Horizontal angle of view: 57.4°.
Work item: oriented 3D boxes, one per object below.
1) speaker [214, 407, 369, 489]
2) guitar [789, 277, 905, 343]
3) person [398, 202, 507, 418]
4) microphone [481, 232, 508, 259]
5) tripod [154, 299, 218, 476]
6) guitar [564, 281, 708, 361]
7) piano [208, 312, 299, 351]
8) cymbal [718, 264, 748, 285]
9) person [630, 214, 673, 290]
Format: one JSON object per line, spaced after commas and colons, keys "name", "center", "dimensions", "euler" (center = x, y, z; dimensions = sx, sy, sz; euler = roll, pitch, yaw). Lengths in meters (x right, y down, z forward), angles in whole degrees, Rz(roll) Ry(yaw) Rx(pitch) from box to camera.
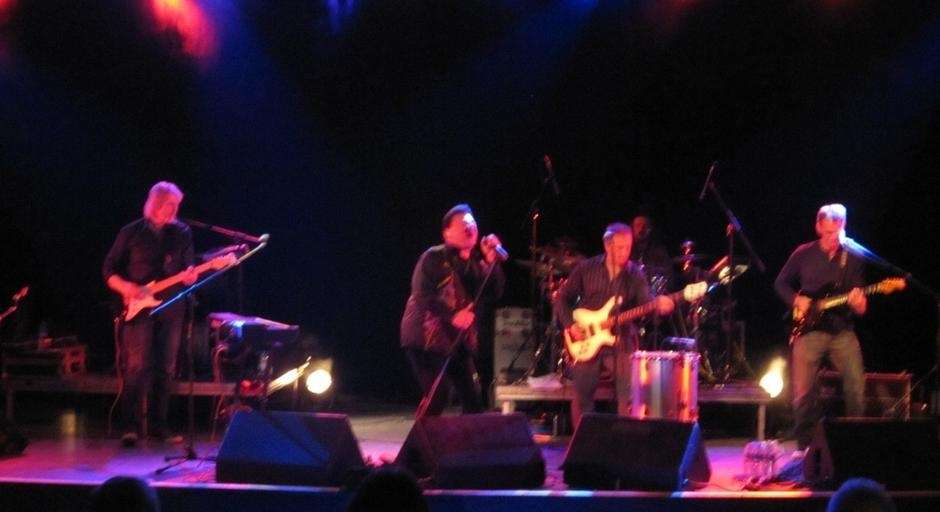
{"name": "speaker", "center": [-2.156, 2.254, 10.389], "dimensions": [1.605, 0.737, 0.800], "euler": [1, 5, 11]}
{"name": "guitar", "center": [4.958, 0.695, 11.402], "dimensions": [1.329, 0.847, 0.445], "euler": [-1, -17, 10]}
{"name": "person", "center": [-0.093, 0.690, 11.025], "dimensions": [1.117, 2.846, 1.441], "euler": [-1, -4, 34]}
{"name": "microphone", "center": [0.307, -0.135, 11.476], "dimensions": [0.228, 0.287, 0.381], "euler": [33, 12, -43]}
{"name": "tripod", "center": [-3.775, 1.752, 11.306], "dimensions": [0.691, 2.322, 0.745], "euler": [5, -2, -5]}
{"name": "guitar", "center": [1.934, 1.096, 11.284], "dimensions": [1.174, 1.409, 2.521], "euler": [0, -1, -40]}
{"name": "piano", "center": [-3.015, 1.027, 11.723], "dimensions": [1.354, 0.516, 0.641], "euler": [-12, -21, 39]}
{"name": "cymbal", "center": [3.879, 0.258, 12.727], "dimensions": [0.374, 0.232, 0.284], "euler": [7, -17, -16]}
{"name": "person", "center": [2.722, -0.072, 12.953], "dimensions": [0.692, 1.376, 0.502], "euler": [9, 1, 23]}
